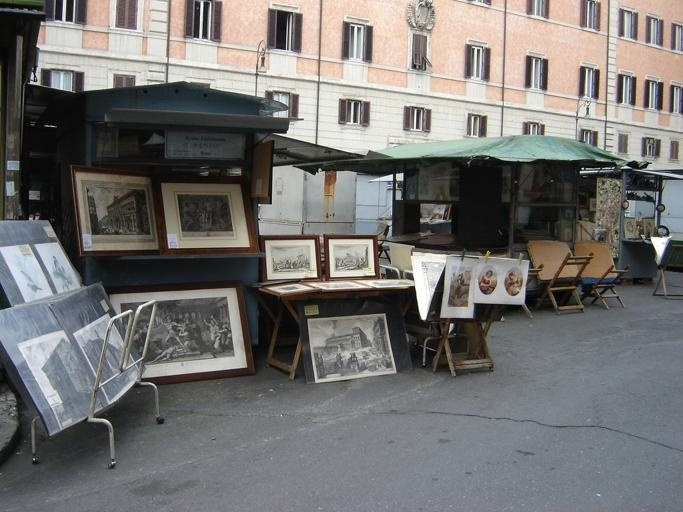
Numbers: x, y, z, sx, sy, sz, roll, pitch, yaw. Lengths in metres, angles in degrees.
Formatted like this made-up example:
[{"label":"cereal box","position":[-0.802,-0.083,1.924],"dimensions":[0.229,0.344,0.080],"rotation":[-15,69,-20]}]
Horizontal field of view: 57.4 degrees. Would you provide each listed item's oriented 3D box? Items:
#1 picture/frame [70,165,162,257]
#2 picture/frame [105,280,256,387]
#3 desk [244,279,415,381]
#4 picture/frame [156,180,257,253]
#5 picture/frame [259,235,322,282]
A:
[{"label":"picture/frame","position":[-2.599,-0.512,7.267],"dimensions":[1.016,1.086,0.070],"rotation":[-1,-4,-42]},{"label":"picture/frame","position":[-1.887,0.910,7.157],"dimensions":[1.173,0.888,0.051],"rotation":[-4,-23,-20]},{"label":"desk","position":[0.123,0.829,8.114],"dimensions":[1.767,1.044,0.930],"rotation":[-5,5,0]},{"label":"picture/frame","position":[-1.711,-0.463,7.722],"dimensions":[0.879,0.785,0.066],"rotation":[-1,-20,-31]},{"label":"picture/frame","position":[-0.699,0.042,8.335],"dimensions":[0.566,0.510,0.060],"rotation":[1,-16,-23]}]
